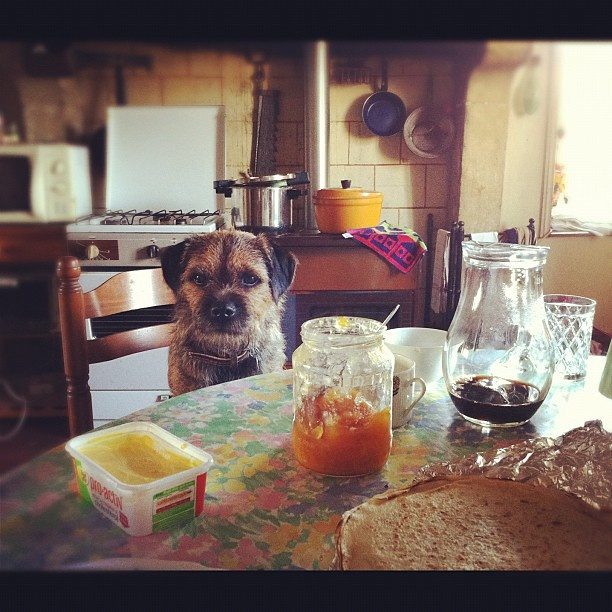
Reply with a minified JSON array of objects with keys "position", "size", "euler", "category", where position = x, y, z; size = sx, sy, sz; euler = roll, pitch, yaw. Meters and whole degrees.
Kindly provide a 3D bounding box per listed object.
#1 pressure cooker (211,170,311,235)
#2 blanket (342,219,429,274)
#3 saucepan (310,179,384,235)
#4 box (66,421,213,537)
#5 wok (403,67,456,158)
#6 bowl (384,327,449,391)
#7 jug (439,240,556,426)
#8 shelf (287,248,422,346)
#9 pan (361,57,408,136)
[{"position":[-0.211,-0.464,2.558],"size":[0.476,0.206,0.286],"euler":[6,10,32],"category":"pressure cooker"},{"position":[0.313,-0.247,2.407],"size":[0.260,0.073,0.251],"euler":[27,32,26],"category":"blanket"},{"position":[0.171,-0.405,2.462],"size":[0.248,0.127,0.239],"euler":[2,7,38],"category":"saucepan"},{"position":[-0.176,0.175,0.634],"size":[0.103,0.040,0.138],"euler":[-7,15,-42],"category":"box"},{"position":[0.606,-0.953,2.901],"size":[0.278,0.387,0.133],"euler":[1,20,7],"category":"wok"},{"position":[0.178,0.083,0.968],"size":[0.118,0.060,0.111],"euler":[1,7,0],"category":"bowl"},{"position":[0.253,0.038,0.867],"size":[0.209,0.251,0.174],"euler":[5,6,9],"category":"jug"},{"position":[0.177,0.028,2.631],"size":[0.750,0.536,0.360],"euler":[0,6,0],"category":"shelf"},{"position":[0.389,-1.017,2.878],"size":[0.247,0.331,0.100],"euler":[0,18,0],"category":"pan"}]
